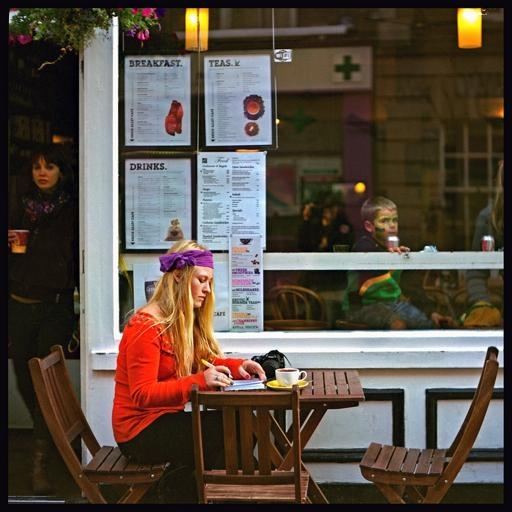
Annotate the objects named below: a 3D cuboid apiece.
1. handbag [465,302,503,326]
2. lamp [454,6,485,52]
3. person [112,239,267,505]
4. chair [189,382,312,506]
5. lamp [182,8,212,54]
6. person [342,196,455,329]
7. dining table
[{"bbox_3d":[1.406,0.363,7.240,0.175,0.171,0.088,-6,-2,-9],"label":"handbag"},{"bbox_3d":[1.310,-1.390,7.207,0.194,0.360,0.209,0,-1,0],"label":"lamp"},{"bbox_3d":[-0.393,0.753,6.464,0.822,1.645,0.656,-1,5,-15],"label":"person"},{"bbox_3d":[0.020,0.865,5.925,0.532,0.992,0.588,0,12,4],"label":"chair"},{"bbox_3d":[-0.365,-1.387,7.225,0.146,0.256,0.056,0,4,-2],"label":"lamp"},{"bbox_3d":[0.889,0.068,7.704,0.815,1.071,0.586,-1,3,28],"label":"person"},{"bbox_3d":[0.125,0.949,5.975,0.841,0.963,0.729,0,1,5],"label":"dining table"}]
